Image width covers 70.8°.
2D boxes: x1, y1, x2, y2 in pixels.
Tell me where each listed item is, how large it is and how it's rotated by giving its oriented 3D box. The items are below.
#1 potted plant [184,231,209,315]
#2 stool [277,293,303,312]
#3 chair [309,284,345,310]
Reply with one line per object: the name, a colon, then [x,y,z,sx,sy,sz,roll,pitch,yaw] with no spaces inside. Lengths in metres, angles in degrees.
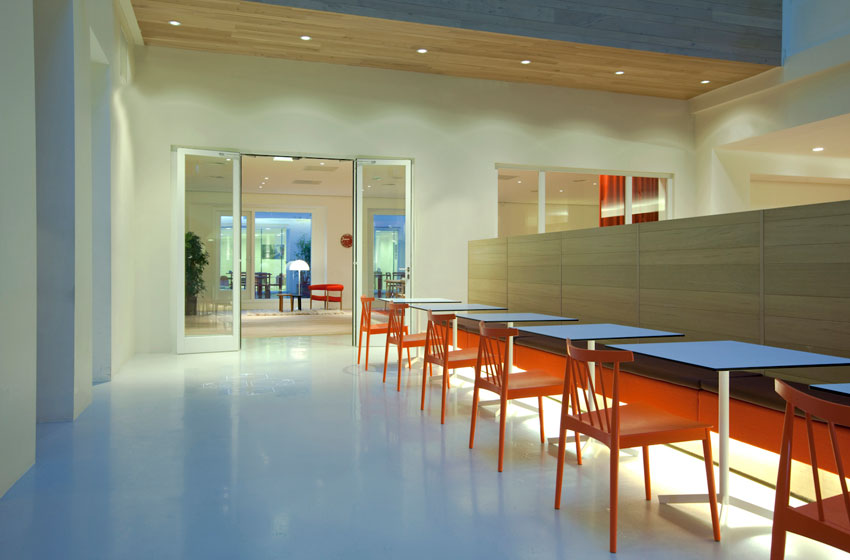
potted plant: [-3.408,-0.109,8.909,0.358,1.236,0.185,-4,12,-20]
stool: [-3.859,0.628,17.184,0.742,0.622,0.711,0,-4,0]
chair: [-2.668,0.367,16.430,0.970,0.755,0.796,-2,-4,41]
